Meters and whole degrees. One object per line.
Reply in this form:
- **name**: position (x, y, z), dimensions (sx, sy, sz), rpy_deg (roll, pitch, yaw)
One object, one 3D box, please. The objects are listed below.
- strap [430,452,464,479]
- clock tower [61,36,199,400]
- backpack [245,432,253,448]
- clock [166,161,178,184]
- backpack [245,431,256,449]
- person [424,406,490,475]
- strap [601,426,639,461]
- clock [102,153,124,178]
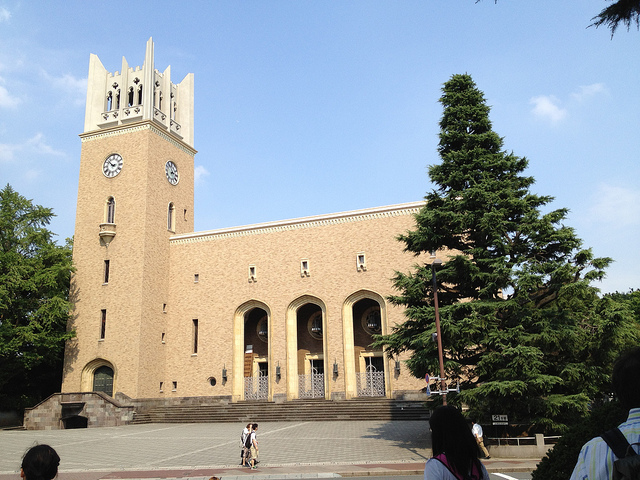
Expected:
- **strap**: position (1.313, 2.360, 5.868), dimensions (0.258, 0.237, 0.081), rpy_deg (0, 13, 42)
- **clock tower**: position (-12.652, -1.715, 38.184), dimensions (7.387, 24.315, 4.749), rpy_deg (2, -20, -14)
- **backpack**: position (-2.259, 6.402, 17.835), dimensions (0.140, 0.304, 0.352), rpy_deg (12, -20, 3)
- **clock**: position (-10.547, -4.754, 39.847), dimensions (0.123, 1.520, 1.609), rpy_deg (-10, -13, 17)
- **backpack**: position (-2.196, 6.414, 17.833), dimensions (0.101, 0.348, 0.266), rpy_deg (6, -7, 11)
- **person**: position (1.389, 2.136, 5.974), dimensions (0.619, 0.711, 0.288), rpy_deg (-6, -19, 6)
- **strap**: position (2.683, 1.837, 5.060), dimensions (0.164, 0.265, 0.274), rpy_deg (-35, -55, -2)
- **clock**: position (-14.102, -5.055, 38.420), dimensions (1.825, 1.795, 0.210), rpy_deg (-13, -21, 27)
